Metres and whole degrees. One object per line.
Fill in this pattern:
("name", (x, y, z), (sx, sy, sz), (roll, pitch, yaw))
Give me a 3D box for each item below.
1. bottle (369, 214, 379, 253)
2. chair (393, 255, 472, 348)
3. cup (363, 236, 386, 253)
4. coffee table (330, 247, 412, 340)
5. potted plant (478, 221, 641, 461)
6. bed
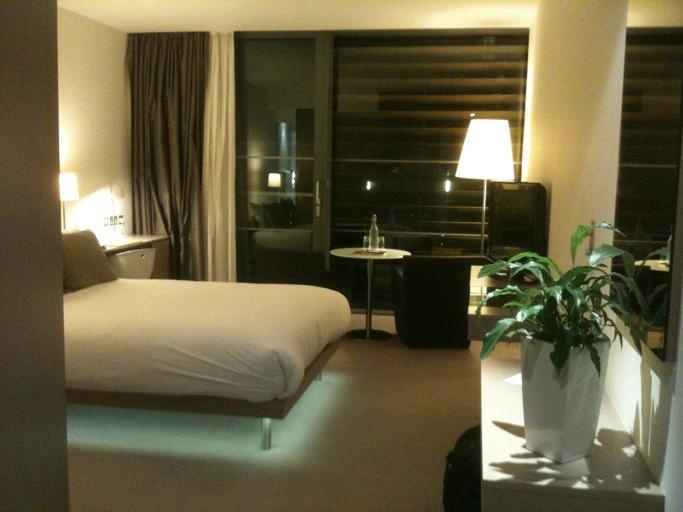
("bottle", (0.241, -0.162, 4.118), (0.070, 0.252, 0.251), (4, 7, 3))
("chair", (0.619, 0.282, 3.986), (0.540, 0.752, 0.571), (0, 9, 7))
("cup", (0.235, -0.080, 4.188), (0.129, 0.097, 0.131), (0, 3, 0))
("coffee table", (0.195, 0.276, 4.194), (0.542, 0.571, 0.567), (1, -2, 5))
("potted plant", (0.580, 0.228, 1.430), (0.410, 0.557, 0.392), (4, -5, -28))
("bed", (-0.597, 0.370, 2.274), (0.790, 0.293, 0.802), (1, 3, 10))
